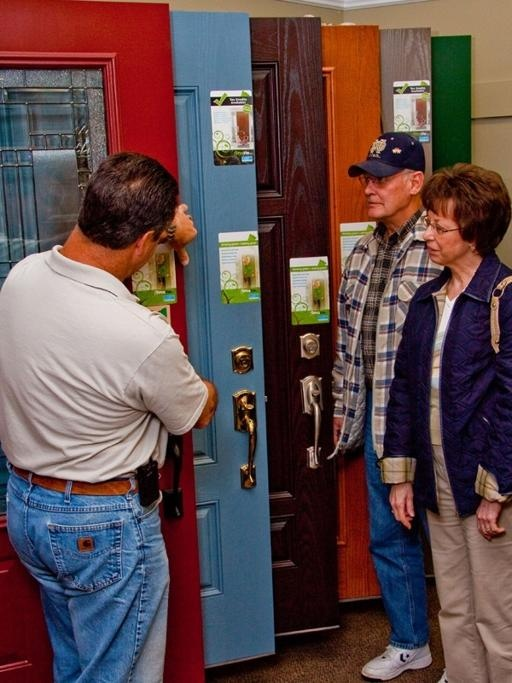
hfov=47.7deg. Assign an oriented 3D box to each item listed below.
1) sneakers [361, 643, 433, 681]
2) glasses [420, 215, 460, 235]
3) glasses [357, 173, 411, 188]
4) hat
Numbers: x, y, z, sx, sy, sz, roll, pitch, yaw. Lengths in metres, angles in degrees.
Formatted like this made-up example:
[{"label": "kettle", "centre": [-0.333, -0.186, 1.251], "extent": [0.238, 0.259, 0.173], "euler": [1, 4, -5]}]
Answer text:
[{"label": "sneakers", "centre": [0.447, 1.012, 1.882], "extent": [0.236, 0.118, 0.084], "euler": [-6, 7, -15]}, {"label": "glasses", "centre": [0.421, -0.265, 1.317], "extent": [0.030, 0.047, 0.081], "euler": [-9, 11, -20]}, {"label": "glasses", "centre": [0.396, -0.493, 1.775], "extent": [0.115, 0.036, 0.067], "euler": [-3, 0, -23]}, {"label": "hat", "centre": [0.400, -0.558, 1.767], "extent": [0.215, 0.120, 0.138], "euler": [-7, 22, -27]}]
